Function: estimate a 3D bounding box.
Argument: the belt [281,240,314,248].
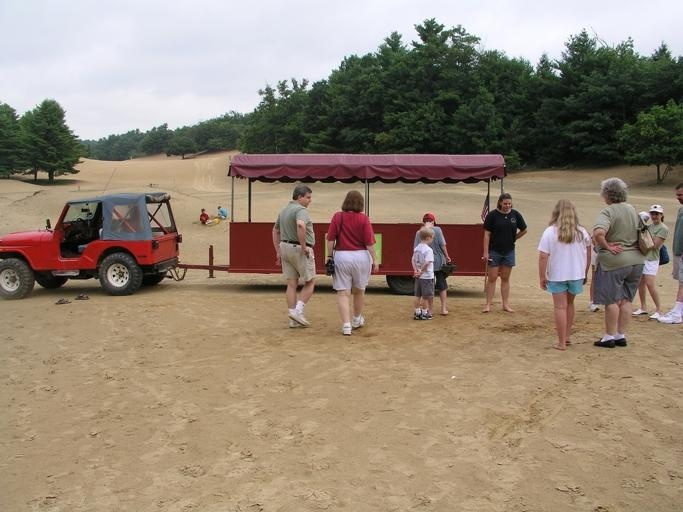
[{"bbox_3d":[-0.747,-0.202,11.473,0.554,0.130,0.330,-2,5,5],"label":"belt"}]

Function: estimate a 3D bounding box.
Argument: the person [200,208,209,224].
[{"bbox_3d":[-6.185,-1.752,31.919,0.324,0.633,1.498,-4,6,-12],"label":"person"}]

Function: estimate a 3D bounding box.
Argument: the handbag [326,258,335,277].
[{"bbox_3d":[-0.180,0.160,11.259,0.168,0.228,0.241,0,-3,-1],"label":"handbag"}]

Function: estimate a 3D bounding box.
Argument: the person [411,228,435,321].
[{"bbox_3d":[1.412,0.299,12.400,0.397,1.641,0.521,-3,6,6],"label":"person"}]

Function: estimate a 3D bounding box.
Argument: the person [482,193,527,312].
[{"bbox_3d":[2.987,-0.066,13.216,0.816,2.202,1.470,-2,6,12],"label":"person"}]

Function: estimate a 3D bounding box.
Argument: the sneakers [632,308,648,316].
[{"bbox_3d":[5.187,0.983,12.483,0.327,0.108,0.117,-3,2,-2],"label":"sneakers"}]

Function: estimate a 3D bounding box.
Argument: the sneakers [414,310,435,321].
[{"bbox_3d":[1.425,1.050,12.576,0.395,0.219,0.128,-2,0,3],"label":"sneakers"}]

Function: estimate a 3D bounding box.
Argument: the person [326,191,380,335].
[{"bbox_3d":[0.169,0.115,11.386,0.770,2.288,0.624,-3,6,1],"label":"person"}]

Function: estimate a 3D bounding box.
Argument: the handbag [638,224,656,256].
[{"bbox_3d":[4.435,-0.225,10.421,0.278,0.531,0.570,-2,1,23],"label":"handbag"}]

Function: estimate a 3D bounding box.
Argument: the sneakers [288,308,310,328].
[{"bbox_3d":[-0.720,1.057,11.873,0.185,0.217,0.520,4,-17,33],"label":"sneakers"}]

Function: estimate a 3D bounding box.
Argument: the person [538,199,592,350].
[{"bbox_3d":[3.259,0.264,10.430,0.716,2.185,0.619,-2,6,15],"label":"person"}]

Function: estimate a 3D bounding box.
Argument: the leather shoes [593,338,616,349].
[{"bbox_3d":[3.868,1.280,10.532,0.125,0.110,0.288,-2,4,-20],"label":"leather shoes"}]

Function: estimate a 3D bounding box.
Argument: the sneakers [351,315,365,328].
[{"bbox_3d":[0.277,1.079,11.939,0.118,0.119,0.287,3,10,18],"label":"sneakers"}]
